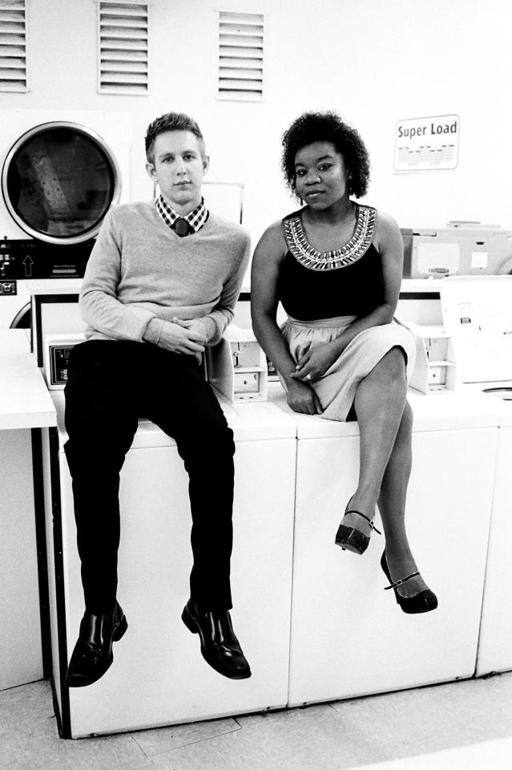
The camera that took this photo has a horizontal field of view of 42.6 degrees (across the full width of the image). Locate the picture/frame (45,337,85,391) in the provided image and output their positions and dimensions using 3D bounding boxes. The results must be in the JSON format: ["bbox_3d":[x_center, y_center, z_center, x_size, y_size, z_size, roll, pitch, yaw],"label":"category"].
[{"bbox_3d":[-0.484,-0.052,1.676,0.158,0.121,0.181,-1,4,-12],"label":"picture/frame"}]

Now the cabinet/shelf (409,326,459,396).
[{"bbox_3d":[0.507,-0.076,1.885,0.096,0.181,0.157,-2,7,-15],"label":"cabinet/shelf"}]

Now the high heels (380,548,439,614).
[{"bbox_3d":[0.324,0.432,1.408,0.071,0.083,0.177,-7,28,-16],"label":"high heels"}]

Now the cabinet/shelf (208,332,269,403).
[{"bbox_3d":[-0.051,-0.066,1.696,0.067,0.155,0.259,-4,19,-15],"label":"cabinet/shelf"}]

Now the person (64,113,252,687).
[{"bbox_3d":[-0.190,-0.067,1.399,0.342,1.254,0.630,1,-11,-2],"label":"person"}]

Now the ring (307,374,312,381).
[{"bbox_3d":[0.123,-0.016,1.527,0.008,0.016,0.013,1,17,-5],"label":"ring"}]

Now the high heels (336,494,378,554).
[{"bbox_3d":[0.184,0.282,1.265,0.038,0.135,0.049,-34,13,8],"label":"high heels"}]
